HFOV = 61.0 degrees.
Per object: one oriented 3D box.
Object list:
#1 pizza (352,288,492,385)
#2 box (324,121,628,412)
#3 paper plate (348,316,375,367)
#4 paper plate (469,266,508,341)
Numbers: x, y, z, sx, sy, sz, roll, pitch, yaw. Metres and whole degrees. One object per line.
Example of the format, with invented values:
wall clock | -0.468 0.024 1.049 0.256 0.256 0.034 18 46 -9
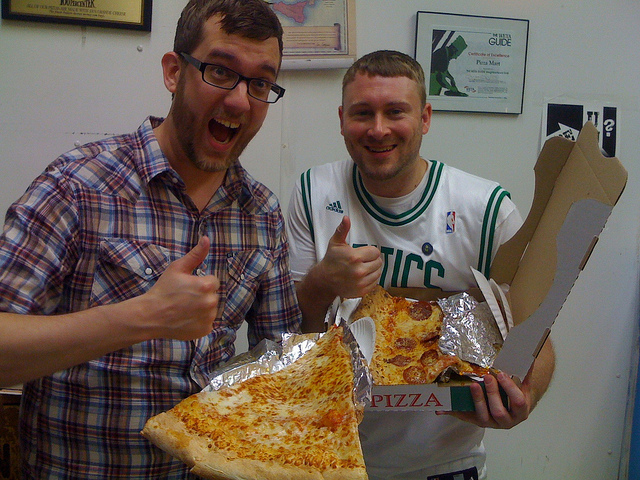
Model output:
pizza | 0.314 0.303 1.764 0.424 0.129 0.410 13 40 36
box | 0.524 0.062 1.890 0.720 1.142 0.776 2 3 8
paper plate | 0.133 0.321 1.769 0.022 0.123 0.097 10 -22 -37
paper plate | 0.537 0.192 1.726 0.091 0.223 0.101 6 9 22
